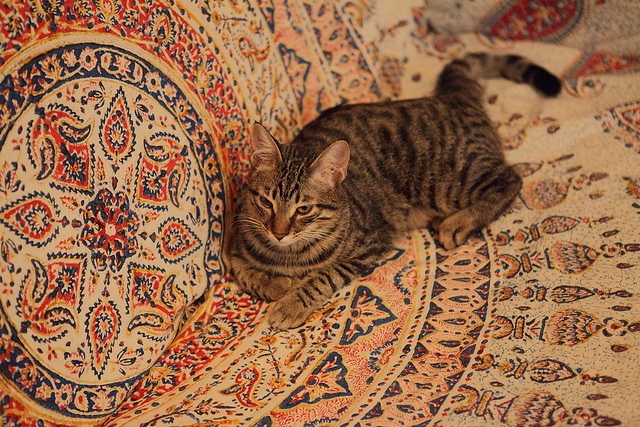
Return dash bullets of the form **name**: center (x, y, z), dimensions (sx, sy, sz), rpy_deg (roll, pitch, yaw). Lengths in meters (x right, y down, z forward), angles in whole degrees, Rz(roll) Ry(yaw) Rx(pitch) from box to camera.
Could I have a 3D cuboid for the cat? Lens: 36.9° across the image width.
- **cat**: center (0.420, -0.319, 5.260), dimensions (0.892, 0.994, 2.150), rpy_deg (22, 40, 39)
